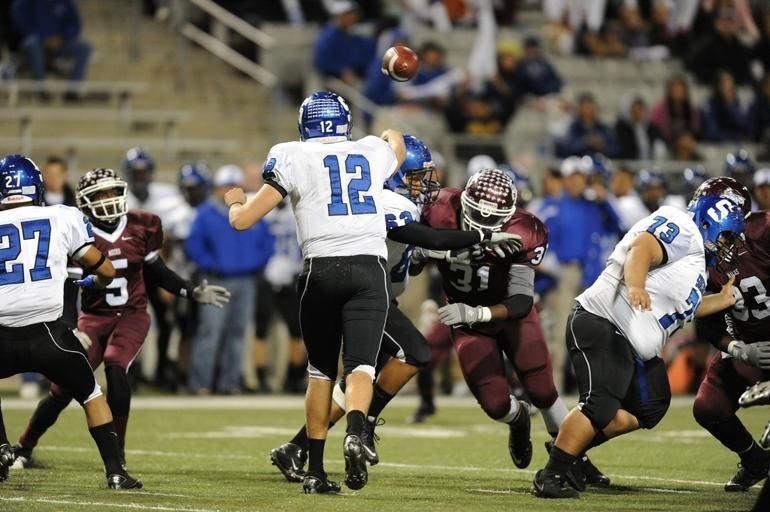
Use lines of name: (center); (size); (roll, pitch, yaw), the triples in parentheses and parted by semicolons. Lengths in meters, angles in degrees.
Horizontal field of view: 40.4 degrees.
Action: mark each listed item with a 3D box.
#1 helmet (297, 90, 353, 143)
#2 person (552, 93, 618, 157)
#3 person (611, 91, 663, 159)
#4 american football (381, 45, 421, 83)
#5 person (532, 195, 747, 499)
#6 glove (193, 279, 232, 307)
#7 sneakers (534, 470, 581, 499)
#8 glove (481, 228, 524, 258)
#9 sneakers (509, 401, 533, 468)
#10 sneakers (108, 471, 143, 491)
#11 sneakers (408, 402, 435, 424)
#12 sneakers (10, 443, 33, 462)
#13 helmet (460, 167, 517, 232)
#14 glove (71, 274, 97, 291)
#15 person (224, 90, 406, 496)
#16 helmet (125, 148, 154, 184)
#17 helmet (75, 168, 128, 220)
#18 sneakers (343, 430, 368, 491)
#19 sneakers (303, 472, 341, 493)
helmet: (-0.390, -0.911, 6.843); (0.269, 0.332, 0.351); (0, 10, 3)
person: (2.702, -1.731, 13.905); (0.828, 0.826, 0.604); (0, 3, 5)
person: (3.430, -1.744, 14.258); (0.739, 0.856, 0.388); (-2, 4, -29)
american football: (0.125, -1.434, 7.855); (0.227, 0.227, 0.270); (7, 12, 30)
person: (1.667, 0.580, 6.866); (1.410, 1.962, 0.784); (0, 3, 2)
glove: (-1.446, 0.313, 8.798); (0.364, 0.245, 0.123); (14, 0, -9)
sneakers: (1.156, 1.487, 6.707); (0.373, 0.178, 0.147); (-2, -2, 41)
glove: (0.800, -0.082, 7.124); (0.253, 0.165, 0.391); (0, 4, 8)
sneakers: (1.026, 1.308, 7.694); (0.163, 0.505, 0.211); (4, 24, 20)
sneakers: (-1.681, 1.470, 6.749); (0.197, 0.087, 0.105); (6, 28, -17)
sneakers: (0.334, 1.582, 10.436); (0.114, 0.162, 0.346); (15, 26, 41)
sneakers: (-2.609, 1.423, 7.530); (0.193, 0.141, 0.068); (11, 12, -11)
helmet: (0.693, -0.345, 7.251); (0.346, 0.437, 0.353); (20, -38, -1)
glove: (-2.204, 0.191, 7.652); (0.271, 0.113, 0.085); (16, 0, 44)
person: (-0.387, 0.236, 6.818); (0.849, 2.628, 0.827); (0, 3, 11)
helmet: (-2.811, -1.062, 11.934); (0.314, 0.396, 0.404); (-3, -29, -13)
helmet: (-2.012, -0.443, 7.508); (0.308, 0.320, 0.372); (-14, 2, -30)
sneakers: (-0.184, 1.304, 6.537); (0.121, 0.379, 0.179); (1, 17, 2)
sneakers: (-0.381, 1.463, 6.771); (0.274, 0.112, 0.108); (6, 13, -41)
